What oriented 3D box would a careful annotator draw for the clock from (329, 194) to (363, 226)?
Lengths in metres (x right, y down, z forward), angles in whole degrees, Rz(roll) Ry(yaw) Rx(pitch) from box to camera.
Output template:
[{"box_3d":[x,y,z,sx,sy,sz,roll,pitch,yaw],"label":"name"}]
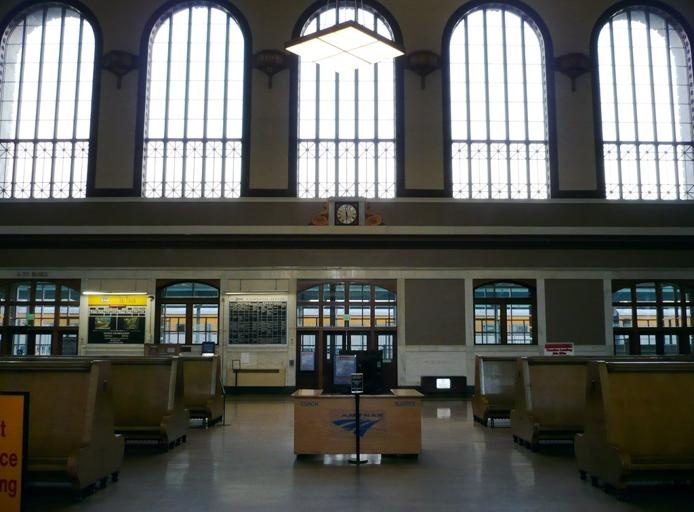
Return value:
[{"box_3d":[-0.015,-1.297,19.751,1.034,0.776,0.275,-1,10,-3],"label":"clock"}]
